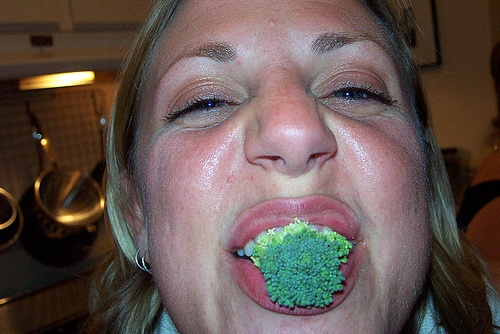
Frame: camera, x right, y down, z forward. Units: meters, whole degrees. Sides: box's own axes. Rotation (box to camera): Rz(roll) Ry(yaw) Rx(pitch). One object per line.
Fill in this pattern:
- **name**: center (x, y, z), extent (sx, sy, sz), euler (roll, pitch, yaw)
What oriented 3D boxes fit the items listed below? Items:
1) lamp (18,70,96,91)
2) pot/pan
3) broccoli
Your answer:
- **lamp**: center (-1.189, -0.528, 2.690), extent (0.444, 0.119, 0.243), euler (-2, 7, -13)
- **pot/pan**: center (-1.228, -0.095, 2.913), extent (0.390, 1.078, 0.476), euler (-28, -27, 34)
- **broccoli**: center (0.192, 0.357, 1.642), extent (0.369, 0.334, 0.085), euler (0, 5, 1)
